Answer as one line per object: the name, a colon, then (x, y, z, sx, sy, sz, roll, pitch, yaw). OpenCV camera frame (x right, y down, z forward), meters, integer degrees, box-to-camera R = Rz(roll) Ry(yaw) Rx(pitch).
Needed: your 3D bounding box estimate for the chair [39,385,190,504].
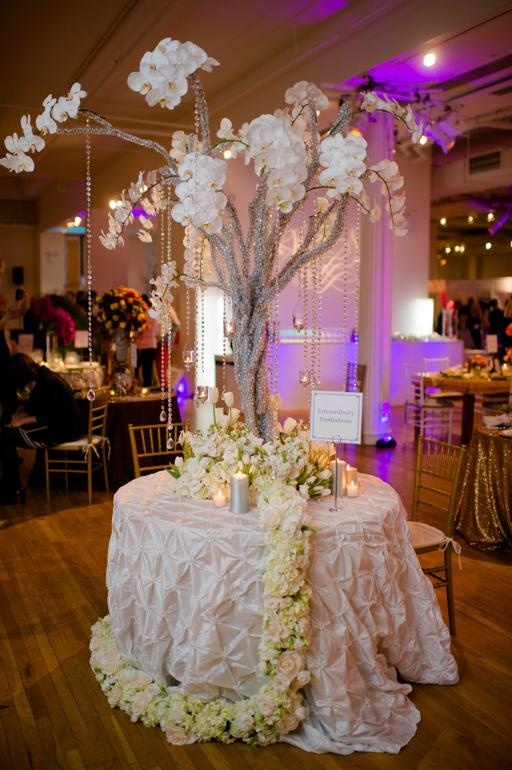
chair: (-1.209, 0.494, 4.727, 1.009, 1.180, 1.237, -1, -3, 25)

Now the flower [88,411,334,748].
flower: (-0.062, 0.698, 2.081, 0.783, 1.130, 0.346, 2, -36, 3)

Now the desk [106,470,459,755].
desk: (-0.002, 0.688, 2.076, 0.800, 0.485, 0.977, 0, 6, -30)
